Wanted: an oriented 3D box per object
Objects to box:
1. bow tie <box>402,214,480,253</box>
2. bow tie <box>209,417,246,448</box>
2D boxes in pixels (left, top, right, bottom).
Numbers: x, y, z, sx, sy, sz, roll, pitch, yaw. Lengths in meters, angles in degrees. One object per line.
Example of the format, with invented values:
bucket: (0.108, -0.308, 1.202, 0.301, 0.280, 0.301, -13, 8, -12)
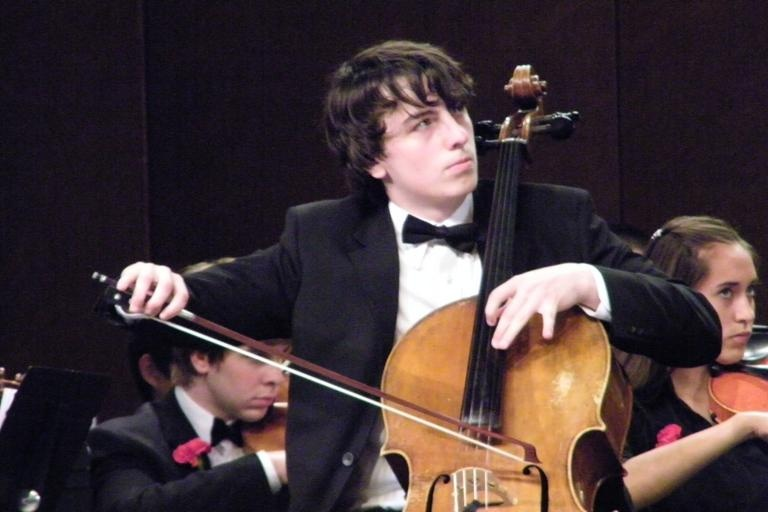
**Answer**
bow tie: (0.193, -0.074, 3.007, 0.243, 0.100, 0.045, 7, 0, -1)
bow tie: (-0.601, 0.670, 3.340, 0.109, 0.097, 0.032, -3, -10, -12)
